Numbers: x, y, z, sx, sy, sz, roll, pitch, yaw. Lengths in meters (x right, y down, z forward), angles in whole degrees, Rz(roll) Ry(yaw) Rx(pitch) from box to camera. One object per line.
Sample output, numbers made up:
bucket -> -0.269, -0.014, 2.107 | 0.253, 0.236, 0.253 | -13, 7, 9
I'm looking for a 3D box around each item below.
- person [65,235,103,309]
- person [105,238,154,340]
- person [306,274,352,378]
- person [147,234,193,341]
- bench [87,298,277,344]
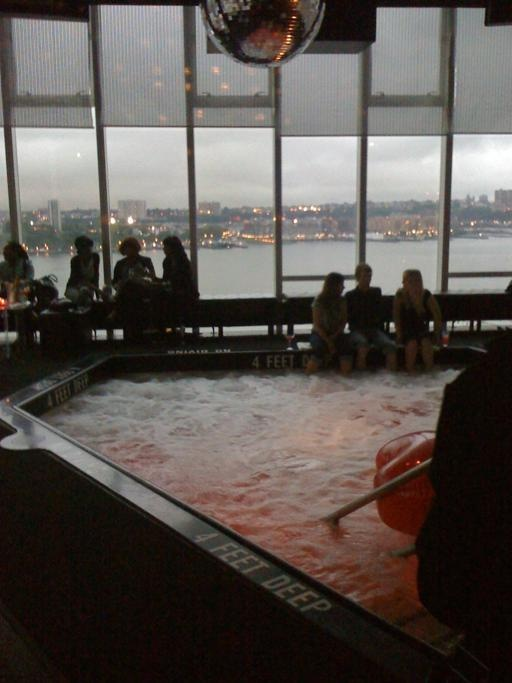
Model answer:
person -> -1.948, -0.797, 6.776 | 0.385, 0.749, 0.527 | -3, 8, -17
person -> -1.314, -0.597, 6.537 | 0.467, 1.050, 0.589 | -2, 8, -12
person -> 0.679, -0.185, 5.613 | 0.412, 0.882, 0.468 | 0, 8, 5
person -> -0.888, -0.633, 6.562 | 0.457, 1.006, 0.573 | 0, 8, 5
bench -> -0.740, -0.237, 6.792 | 2.077, 0.473, 0.394 | -2, -4, -7
